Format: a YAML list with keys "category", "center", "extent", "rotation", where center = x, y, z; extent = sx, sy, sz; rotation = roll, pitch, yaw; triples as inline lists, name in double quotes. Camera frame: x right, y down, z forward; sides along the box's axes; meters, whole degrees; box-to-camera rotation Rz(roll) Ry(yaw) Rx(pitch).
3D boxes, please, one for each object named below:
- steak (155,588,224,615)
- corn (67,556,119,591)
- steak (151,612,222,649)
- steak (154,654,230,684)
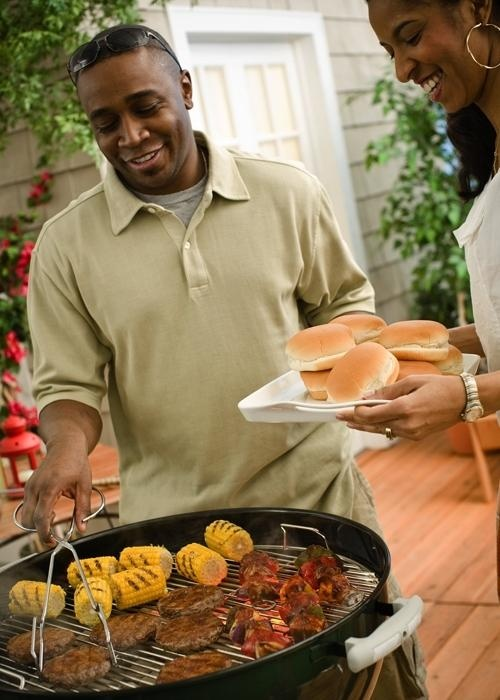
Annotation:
- category: "steak"
  center: [-0.080, 0.321, 0.806]
  extent: [0.047, 0.010, 0.043]
  rotation: [-3, 5, 4]
- category: "corn"
  center: [-0.227, 0.317, 0.889]
  extent: [0.074, 0.046, 0.046]
  rotation: [-10, 0, 5]
- category: "steak"
  center: [-0.072, 0.342, 0.734]
  extent: [0.073, 0.025, 0.079]
  rotation: [-18, 1, -42]
- category: "steak"
  center: [-0.062, 0.338, 0.644]
  extent: [0.076, 0.013, 0.050]
  rotation: [-17, 0, -20]
